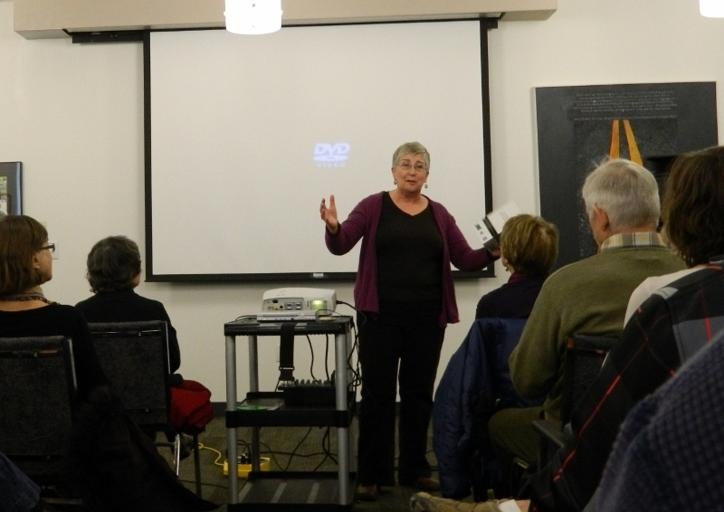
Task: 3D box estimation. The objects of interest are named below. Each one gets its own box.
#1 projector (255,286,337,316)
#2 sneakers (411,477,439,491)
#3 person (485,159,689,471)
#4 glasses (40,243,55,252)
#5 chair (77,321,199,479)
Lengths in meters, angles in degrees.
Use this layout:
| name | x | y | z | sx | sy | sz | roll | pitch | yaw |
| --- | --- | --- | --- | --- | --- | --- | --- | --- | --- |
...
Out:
| name | x | y | z | sx | sy | sz | roll | pitch | yaw |
| --- | --- | --- | --- | --- | --- | --- | --- | --- | --- |
| projector | -0.357 | 0.263 | 4.281 | 0.403 | 0.155 | 0.271 | -2 | 5 | 1 |
| sneakers | 0.370 | 1.301 | 4.341 | 0.122 | 0.047 | 0.067 | -2 | -7 | 20 |
| person | 1.131 | 0.448 | 3.741 | 0.952 | 1.793 | 0.961 | 1 | 6 | -12 |
| glasses | -1.621 | -0.045 | 3.893 | 0.060 | 0.021 | 0.064 | 1 | 5 | -1 |
| chair | -1.184 | 0.653 | 4.026 | 0.433 | 0.827 | 0.548 | 0 | 8 | 0 |
